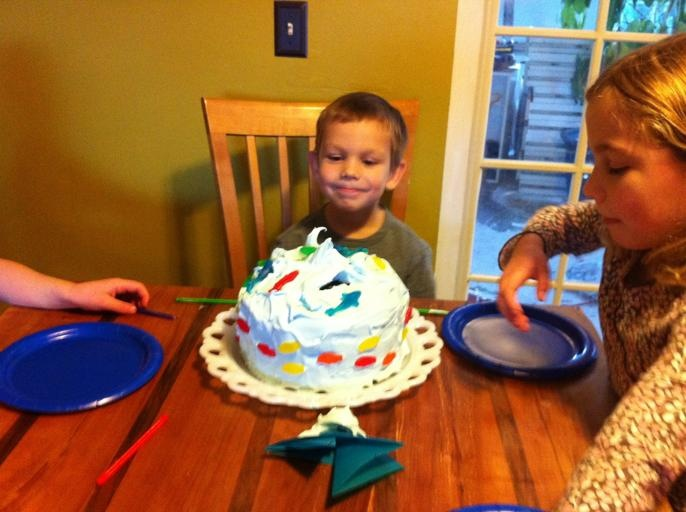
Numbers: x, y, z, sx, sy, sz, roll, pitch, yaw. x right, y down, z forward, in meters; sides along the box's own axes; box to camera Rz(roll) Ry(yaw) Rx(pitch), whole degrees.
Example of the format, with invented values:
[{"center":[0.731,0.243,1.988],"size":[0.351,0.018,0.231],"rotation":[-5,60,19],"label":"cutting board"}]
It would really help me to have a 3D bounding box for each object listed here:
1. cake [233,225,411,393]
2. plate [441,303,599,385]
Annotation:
[{"center":[-0.031,0.090,1.055],"size":[0.299,0.195,0.308],"rotation":[12,26,27],"label":"cake"},{"center":[0.393,0.191,1.171],"size":[0.190,0.026,0.193],"rotation":[12,29,26],"label":"plate"}]
